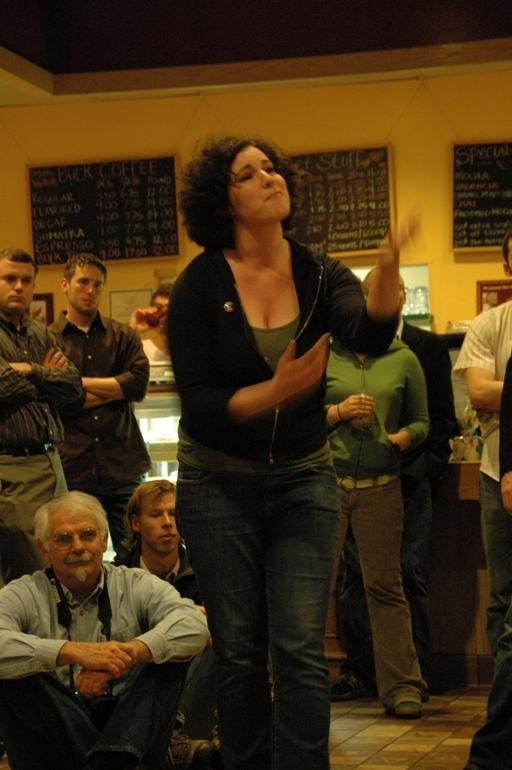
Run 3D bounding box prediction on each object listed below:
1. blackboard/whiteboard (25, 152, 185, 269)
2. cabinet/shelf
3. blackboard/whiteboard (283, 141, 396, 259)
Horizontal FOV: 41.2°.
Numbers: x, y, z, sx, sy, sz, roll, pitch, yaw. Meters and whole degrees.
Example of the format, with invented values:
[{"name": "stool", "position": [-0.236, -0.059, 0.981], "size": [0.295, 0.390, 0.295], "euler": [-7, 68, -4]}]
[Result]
[{"name": "blackboard/whiteboard", "position": [-1.155, -1.382, 5.451], "size": [1.714, 1.136, 0.078], "euler": [-4, -3, 4]}, {"name": "cabinet/shelf", "position": [-0.504, 0.301, 3.925], "size": [0.243, 0.387, 0.426], "euler": [3, 8, 6]}, {"name": "blackboard/whiteboard", "position": [0.645, -1.412, 5.282], "size": [0.943, 0.842, 0.035], "euler": [-12, 19, -24]}]
